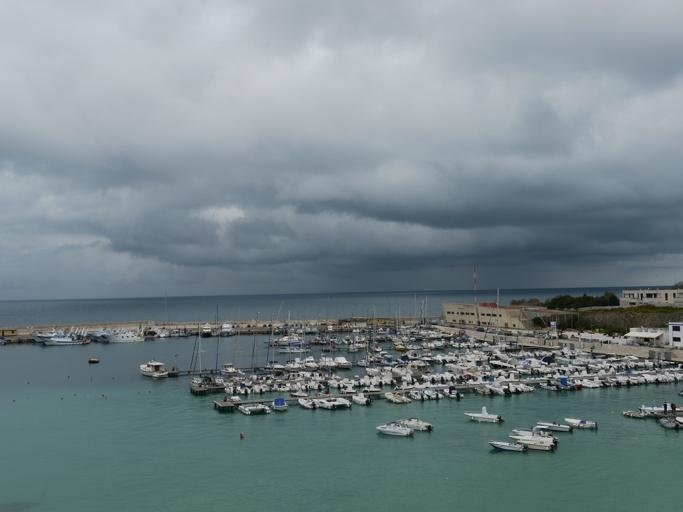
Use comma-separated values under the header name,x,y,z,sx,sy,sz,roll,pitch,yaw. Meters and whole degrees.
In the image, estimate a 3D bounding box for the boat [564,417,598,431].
name,x,y,z,sx,sy,sz,roll,pitch,yaw
boat,28.154,19.775,91.054,3.236,0.858,1.446,1,4,34

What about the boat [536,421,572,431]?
name,x,y,z,sx,sy,sz,roll,pitch,yaw
boat,24.951,20.033,90.572,4.076,0.890,1.312,3,5,-9

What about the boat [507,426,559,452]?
name,x,y,z,sx,sy,sz,roll,pitch,yaw
boat,21.521,20.447,86.429,3.428,1.157,2.660,-1,-3,34

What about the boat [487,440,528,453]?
name,x,y,z,sx,sy,sz,roll,pitch,yaw
boat,18.383,21.074,85.627,2.876,0.704,1.431,1,-2,8

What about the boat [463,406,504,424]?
name,x,y,z,sx,sy,sz,roll,pitch,yaw
boat,17.606,19.517,94.722,4.815,2.098,1.674,-1,0,30

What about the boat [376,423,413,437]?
name,x,y,z,sx,sy,sz,roll,pitch,yaw
boat,6.334,20.360,90.606,4.240,1.399,1.492,0,3,29
